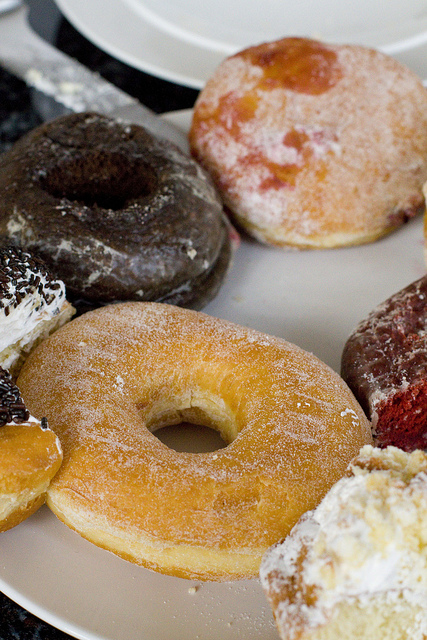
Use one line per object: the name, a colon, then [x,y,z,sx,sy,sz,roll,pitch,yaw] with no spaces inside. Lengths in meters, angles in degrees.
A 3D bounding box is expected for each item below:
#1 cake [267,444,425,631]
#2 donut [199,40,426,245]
cake: [0.128,0.166,0.527,0.117,0.045,0.133,13,69,47]
donut: [0.129,-0.217,0.875,0.280,0.232,0.168,-8,40,1]
